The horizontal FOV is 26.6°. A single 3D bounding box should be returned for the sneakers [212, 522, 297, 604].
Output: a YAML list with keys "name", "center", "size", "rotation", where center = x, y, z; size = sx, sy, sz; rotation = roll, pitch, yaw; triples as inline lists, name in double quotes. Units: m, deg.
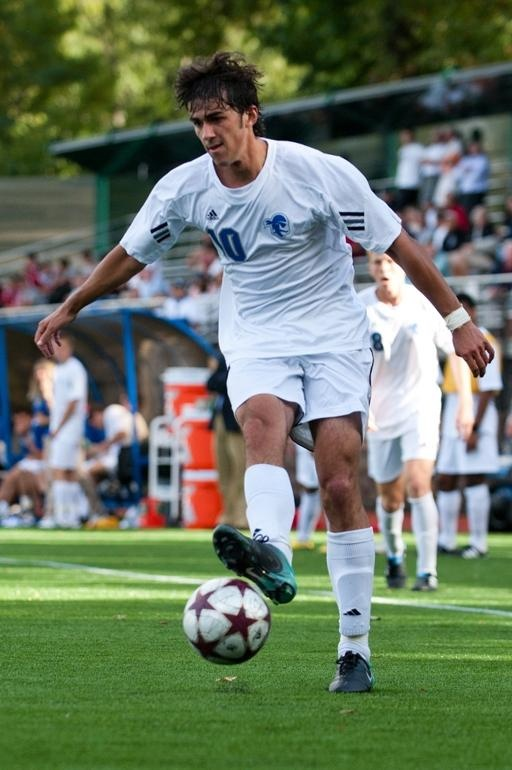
- name: "sneakers"
  center: [-0.021, 0.505, 3.037]
  size: [0.258, 0.193, 0.196]
  rotation: [11, -9, -10]

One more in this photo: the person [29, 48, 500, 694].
- name: "person"
  center: [0.037, -0.072, 3.622]
  size: [1.430, 2.035, 0.744]
  rotation: [10, -9, 9]

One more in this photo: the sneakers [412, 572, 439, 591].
- name: "sneakers"
  center: [1.053, 1.232, 6.764]
  size: [0.170, 0.143, 0.371]
  rotation: [-3, -10, 13]

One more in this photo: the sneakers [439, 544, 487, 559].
- name: "sneakers"
  center: [1.855, 1.503, 9.800]
  size: [0.420, 0.148, 0.130]
  rotation: [4, -8, 6]
